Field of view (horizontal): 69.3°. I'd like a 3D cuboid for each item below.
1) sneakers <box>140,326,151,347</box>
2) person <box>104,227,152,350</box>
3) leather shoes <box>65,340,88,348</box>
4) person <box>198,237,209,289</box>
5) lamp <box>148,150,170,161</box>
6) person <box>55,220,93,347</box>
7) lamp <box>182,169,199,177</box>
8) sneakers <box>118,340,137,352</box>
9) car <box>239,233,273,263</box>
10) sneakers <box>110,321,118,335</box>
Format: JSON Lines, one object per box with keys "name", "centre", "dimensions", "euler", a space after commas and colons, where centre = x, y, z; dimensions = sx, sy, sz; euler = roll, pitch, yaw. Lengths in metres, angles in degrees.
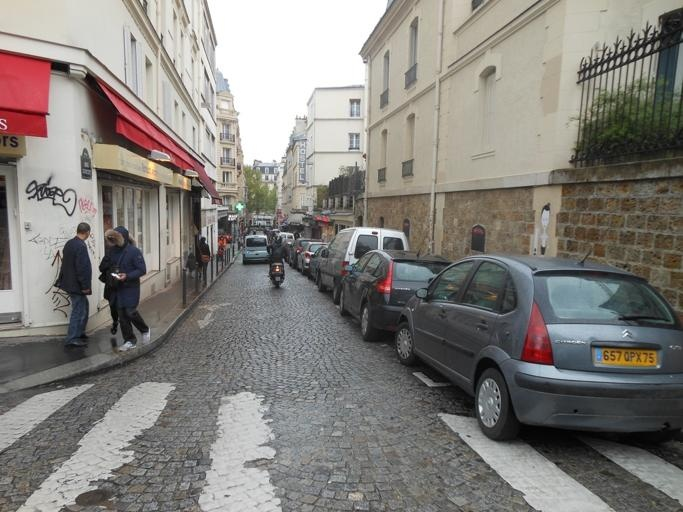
{"name": "sneakers", "centre": [-3.441, 1.443, 8.704], "dimensions": [0.144, 0.412, 0.133], "euler": [9, -12, -39]}
{"name": "person", "centre": [-3.608, 0.541, 8.387], "dimensions": [0.575, 1.967, 0.720], "euler": [-4, 11, -26]}
{"name": "leather shoes", "centre": [-4.501, 1.463, 8.354], "dimensions": [0.297, 0.145, 0.115], "euler": [-4, 11, -27]}
{"name": "person", "centre": [-4.605, 0.144, 16.476], "dimensions": [0.326, 1.660, 0.862], "euler": [-2, 10, -17]}
{"name": "lamp", "centre": [-4.430, -2.433, 11.895], "dimensions": [0.509, 0.245, 0.408], "euler": [1, 4, 28]}
{"name": "person", "centre": [-4.445, 0.476, 8.277], "dimensions": [0.489, 2.043, 0.333], "euler": [-4, 11, -30]}
{"name": "lamp", "centre": [-5.135, -2.838, 16.668], "dimensions": [0.642, 0.285, 0.464], "euler": [9, 8, 37]}
{"name": "sneakers", "centre": [-3.583, 1.490, 8.255], "dimensions": [0.285, 0.111, 0.277], "euler": [-5, 12, -30]}
{"name": "car", "centre": [-4.818, -0.345, 27.727], "dimensions": [1.280, 1.273, 2.373], "euler": [0, 13, -8]}
{"name": "sneakers", "centre": [-4.236, 1.316, 9.207], "dimensions": [0.142, 0.193, 0.453], "euler": [1, 3, -13]}
